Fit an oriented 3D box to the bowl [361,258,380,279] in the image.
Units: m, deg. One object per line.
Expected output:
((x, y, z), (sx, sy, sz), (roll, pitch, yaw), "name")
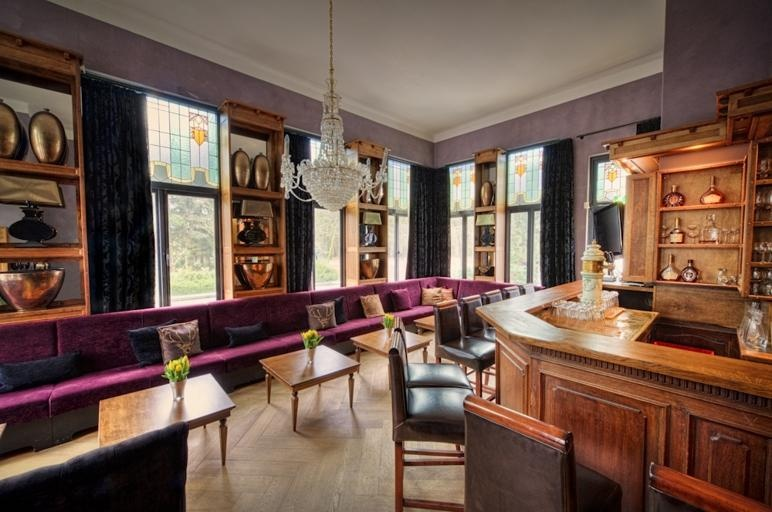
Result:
((-0.246, 0.208, 8.454), (0.305, 0.266, 0.319), (-2, 6, 0), "bowl")

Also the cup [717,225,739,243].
((3.812, -0.229, 5.706), (0.266, 0.252, 0.149), (-1, -5, 36), "cup")

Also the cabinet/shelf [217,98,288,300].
((-1.739, -0.394, 7.026), (0.926, 3.139, 0.514), (0, 4, -2), "cabinet/shelf")

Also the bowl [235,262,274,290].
((-1.836, 0.257, 7.089), (0.402, 0.279, 0.404), (-1, 3, 0), "bowl")

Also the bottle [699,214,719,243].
((3.656, -0.314, 5.782), (0.169, 0.319, 0.081), (-1, 3, 20), "bottle")

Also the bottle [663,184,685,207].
((3.363, -0.702, 5.961), (0.134, 0.334, 0.251), (11, -10, -37), "bottle")

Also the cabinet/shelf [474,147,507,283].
((1.738, -0.670, 8.707), (0.611, 2.210, 0.473), (0, 3, 30), "cabinet/shelf")
